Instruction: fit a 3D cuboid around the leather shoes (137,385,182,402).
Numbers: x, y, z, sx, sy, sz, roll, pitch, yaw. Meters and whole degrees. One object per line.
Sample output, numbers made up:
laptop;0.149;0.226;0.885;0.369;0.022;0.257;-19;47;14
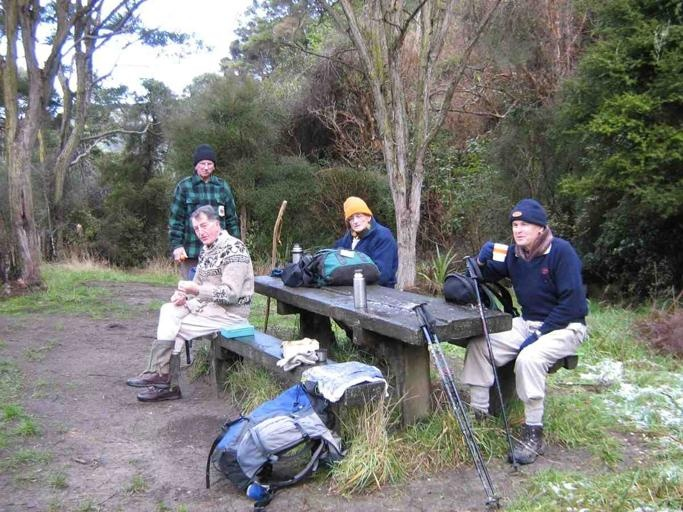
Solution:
leather shoes;-1.915;1.449;5.779;0.417;0.206;0.165;5;3;-15

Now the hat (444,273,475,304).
hat;1.085;0.295;5.081;0.270;0.338;0.219;6;10;44

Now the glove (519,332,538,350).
glove;1.650;0.735;4.836;0.048;0.170;0.106;39;-6;-31

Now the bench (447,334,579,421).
bench;1.627;0.958;4.959;0.927;1.111;0.836;2;-3;10

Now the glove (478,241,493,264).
glove;1.390;-0.038;5.293;0.066;0.206;0.144;26;15;7

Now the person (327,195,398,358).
person;0.170;0.153;6.499;0.814;1.711;0.762;4;-5;-15

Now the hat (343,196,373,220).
hat;0.194;-0.560;6.454;0.303;0.298;0.368;0;12;3

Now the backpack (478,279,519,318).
backpack;1.516;0.406;5.323;0.340;0.424;0.275;12;12;-11

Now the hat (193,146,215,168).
hat;-1.763;-1.307;7.024;0.238;0.257;0.240;-3;12;-8

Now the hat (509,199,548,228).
hat;1.694;-0.394;4.974;0.247;0.220;0.270;1;0;1

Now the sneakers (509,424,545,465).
sneakers;1.557;1.567;4.616;0.369;0.265;0.186;-11;16;-41

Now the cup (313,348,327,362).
cup;-0.188;0.902;5.051;0.097;0.084;0.093;-1;-1;0

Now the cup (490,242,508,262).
cup;1.476;-0.041;5.167;0.142;0.163;0.148;6;8;-1
